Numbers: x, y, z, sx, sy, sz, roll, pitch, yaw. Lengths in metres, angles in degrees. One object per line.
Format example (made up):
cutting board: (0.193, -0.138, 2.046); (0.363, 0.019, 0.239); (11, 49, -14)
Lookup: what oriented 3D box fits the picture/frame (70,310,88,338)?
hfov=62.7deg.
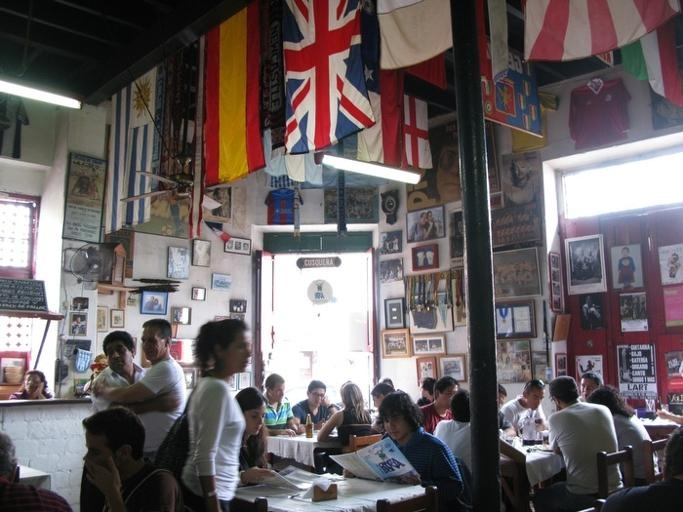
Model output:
picture/frame: (-4.139, 1.067, 8.756); (0.045, 0.521, 0.339); (-6, -11, 36)

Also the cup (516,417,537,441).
cup: (2.491, 2.333, 7.543); (0.200, 0.318, 0.166); (-2, -24, 9)

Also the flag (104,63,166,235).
flag: (-3.134, -1.715, 8.380); (0.133, 2.958, 1.990); (9, -16, -40)

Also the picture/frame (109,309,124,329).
picture/frame: (-3.947, 1.095, 9.764); (0.299, 0.420, 0.038); (-2, -4, -42)

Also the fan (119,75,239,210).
fan: (-2.006, -1.429, 7.446); (0.917, 1.183, 1.067); (12, 0, -18)

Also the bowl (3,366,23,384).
bowl: (-5.234, 1.897, 8.898); (0.213, 0.213, 0.246); (1, -14, -1)

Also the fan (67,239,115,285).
fan: (-3.933, 0.079, 8.837); (0.646, 0.740, 0.485); (9, -19, -29)

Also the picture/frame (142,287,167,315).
picture/frame: (-3.468, 0.816, 10.263); (0.057, 0.419, 0.434); (-8, -10, 37)

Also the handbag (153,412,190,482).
handbag: (-1.103, 1.249, 3.658); (0.286, 0.479, 0.225); (-1, -5, 18)
